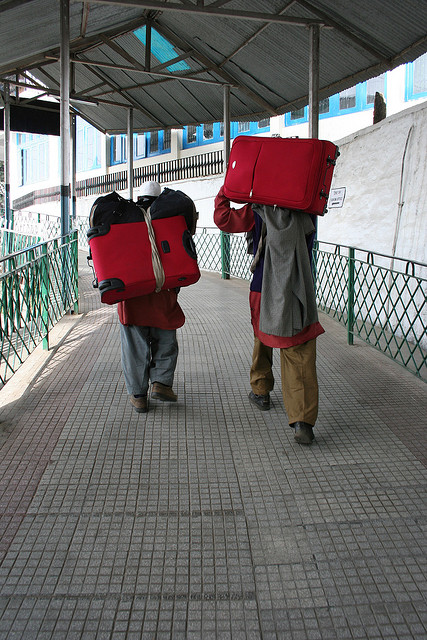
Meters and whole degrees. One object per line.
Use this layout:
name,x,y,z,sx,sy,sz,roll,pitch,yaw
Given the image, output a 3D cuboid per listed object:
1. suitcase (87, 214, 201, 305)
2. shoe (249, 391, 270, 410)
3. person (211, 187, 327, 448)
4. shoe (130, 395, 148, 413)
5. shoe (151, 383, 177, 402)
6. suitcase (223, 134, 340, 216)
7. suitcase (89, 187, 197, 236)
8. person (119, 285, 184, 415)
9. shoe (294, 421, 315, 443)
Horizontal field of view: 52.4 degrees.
suitcase,-0.381,-0.351,2.386,0.639,0.408,0.207,-12,-4,-21
shoe,0.283,0.487,2.639,0.056,0.067,0.151,0,9,-8
person,0.292,-0.057,2.365,0.591,1.285,0.588,3,10,14
shoe,-0.441,0.489,2.596,0.095,0.110,0.057,-1,10,-10
shoe,-0.304,0.445,2.728,0.072,0.093,0.198,18,-5,44
suitcase,0.376,-0.651,2.294,0.448,0.461,0.444,12,3,33
suitcase,-0.400,-0.645,2.469,0.447,0.201,0.303,-6,12,-15
person,-0.363,0.154,2.629,0.394,0.761,0.318,-2,10,-16
shoe,0.439,0.549,2.134,0.062,0.130,0.129,-15,-42,28
